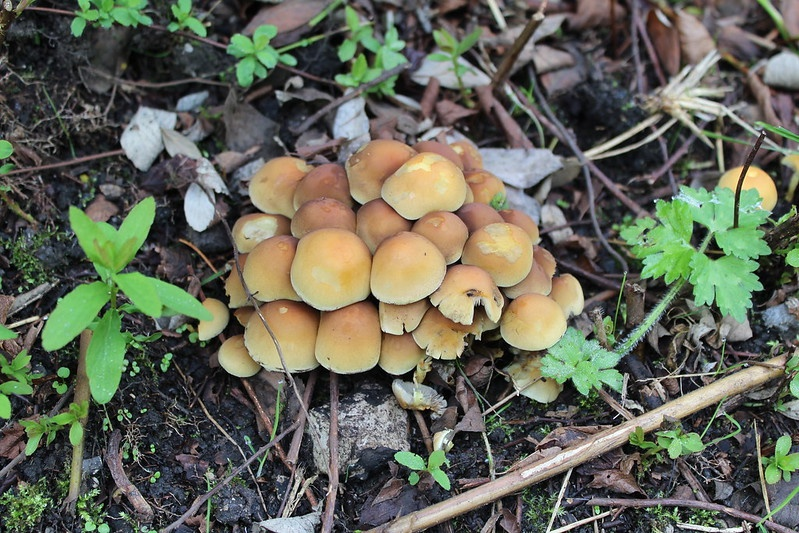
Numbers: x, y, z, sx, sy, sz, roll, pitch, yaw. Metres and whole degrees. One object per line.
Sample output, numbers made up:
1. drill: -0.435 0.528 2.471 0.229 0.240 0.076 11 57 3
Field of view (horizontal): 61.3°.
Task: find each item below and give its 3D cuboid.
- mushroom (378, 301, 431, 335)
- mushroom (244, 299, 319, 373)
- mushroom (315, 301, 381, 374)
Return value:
1. mushroom: 0.031 0.330 4.450 0.308 0.081 0.194 -4 71 -4
2. mushroom: -0.796 0.465 4.533 0.499 0.164 0.456 1 71 -3
3. mushroom: -0.339 0.470 4.446 0.448 0.173 0.423 -10 71 -6
